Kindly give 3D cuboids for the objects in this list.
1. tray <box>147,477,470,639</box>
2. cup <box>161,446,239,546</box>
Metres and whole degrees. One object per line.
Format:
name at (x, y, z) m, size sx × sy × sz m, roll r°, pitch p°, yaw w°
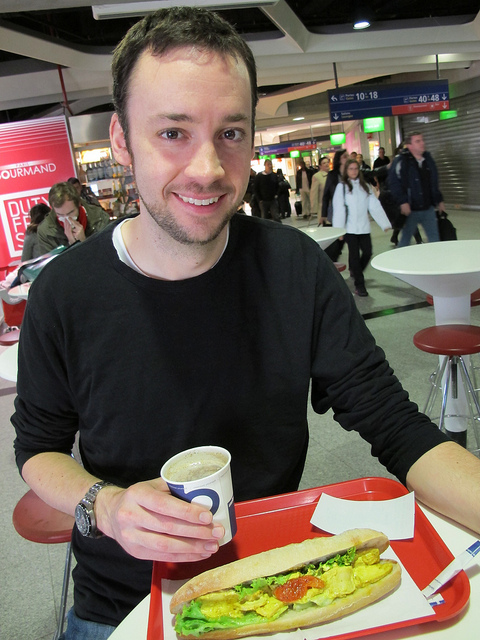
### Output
tray at (0.104, 0.403, 0.791) m, size 0.514 × 0.037 × 0.361 m, roll -11°, pitch 13°, yaw -11°
cup at (-0.051, 0.276, 0.719) m, size 0.107 × 0.099 × 0.099 m, roll -13°, pitch -6°, yaw -1°
